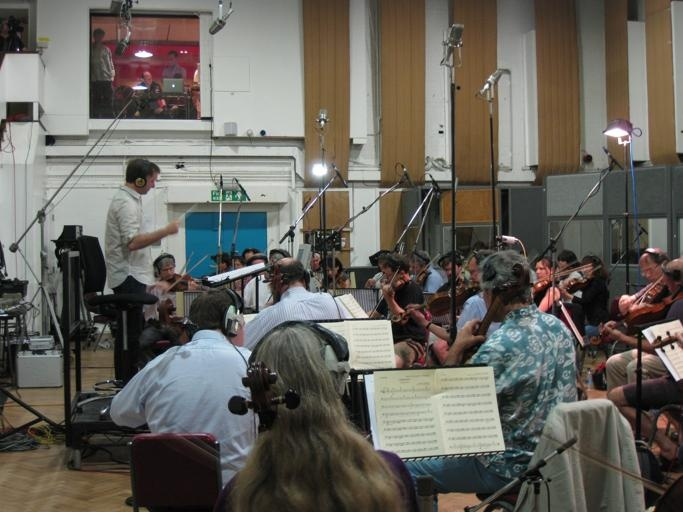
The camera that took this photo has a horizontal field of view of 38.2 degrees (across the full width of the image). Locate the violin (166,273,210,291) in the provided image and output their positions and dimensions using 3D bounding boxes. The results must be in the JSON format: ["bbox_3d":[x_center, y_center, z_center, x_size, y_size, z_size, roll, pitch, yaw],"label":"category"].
[{"bbox_3d":[-1.954,0.337,12.259,0.171,0.087,0.370,-19,23,-33],"label":"violin"}]

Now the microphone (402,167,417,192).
[{"bbox_3d":[1.069,-1.229,15.931,0.262,0.282,0.813,3,17,9],"label":"microphone"}]

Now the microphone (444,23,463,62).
[{"bbox_3d":[1.195,-2.189,10.387,0.145,0.515,0.113,6,32,7],"label":"microphone"}]

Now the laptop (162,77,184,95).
[{"bbox_3d":[-2.789,-2.798,16.249,0.286,0.245,0.232,-1,14,-11],"label":"laptop"}]

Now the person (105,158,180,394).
[{"bbox_3d":[-2.198,0.111,10.689,0.565,2.680,0.730,3,2,-17],"label":"person"}]

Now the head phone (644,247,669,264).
[{"bbox_3d":[3.800,-0.046,11.755,0.261,0.153,0.242,31,0,5],"label":"head phone"}]

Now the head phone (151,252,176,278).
[{"bbox_3d":[-2.415,0.109,13.265,0.264,0.352,0.327,-7,-12,-16],"label":"head phone"}]

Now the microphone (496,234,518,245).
[{"bbox_3d":[1.940,-0.193,11.589,0.164,0.094,0.236,1,0,-10],"label":"microphone"}]

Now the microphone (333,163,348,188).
[{"bbox_3d":[-0.039,-1.329,16.125,0.080,0.487,0.182,-34,-12,25],"label":"microphone"}]

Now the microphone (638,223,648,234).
[{"bbox_3d":[4.349,-0.388,14.223,0.154,0.131,0.068,14,-21,-1],"label":"microphone"}]

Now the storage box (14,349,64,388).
[{"bbox_3d":[-3.769,1.421,12.202,0.536,0.488,0.513,-1,1,-6],"label":"storage box"}]

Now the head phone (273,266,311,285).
[{"bbox_3d":[-0.495,0.195,9.871,0.235,0.112,0.192,14,2,1],"label":"head phone"}]
